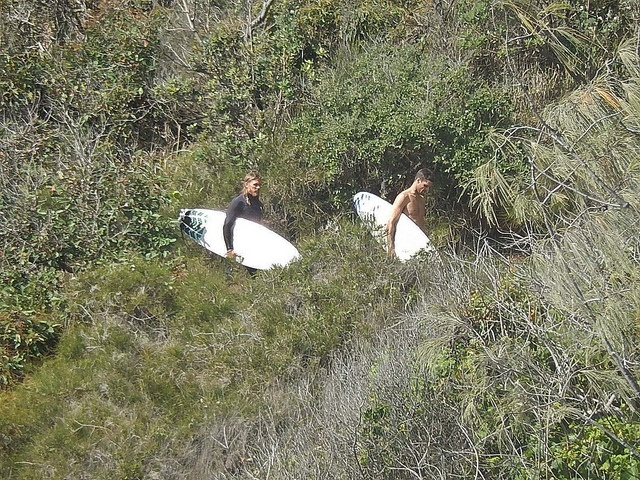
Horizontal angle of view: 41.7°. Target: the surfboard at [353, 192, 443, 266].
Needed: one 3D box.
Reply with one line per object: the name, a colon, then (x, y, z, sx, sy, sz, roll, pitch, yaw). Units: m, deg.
surfboard: (0.993, -0.093, 10.836, 0.478, 0.200, 1.480, -46, 75, 6)
